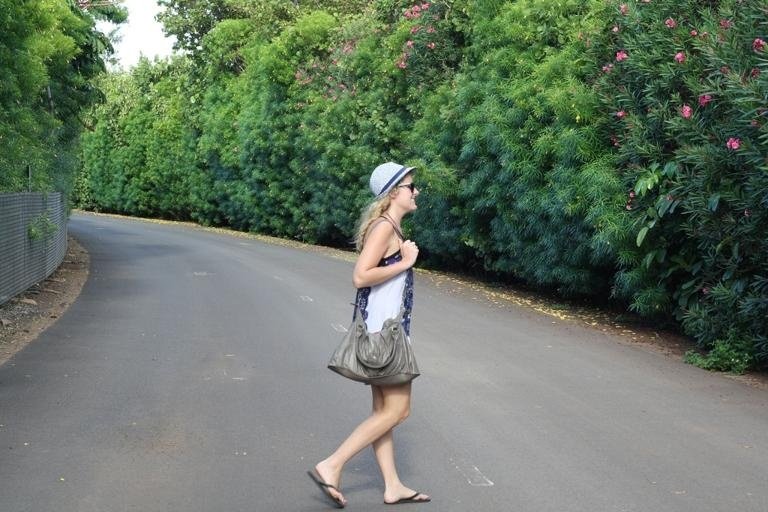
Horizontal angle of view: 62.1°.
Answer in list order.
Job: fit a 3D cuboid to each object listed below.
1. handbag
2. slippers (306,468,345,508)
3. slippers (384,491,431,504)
[{"bbox_3d":[-0.065,0.844,5.816,0.787,0.688,0.358,1,-15,4],"label":"handbag"},{"bbox_3d":[-0.524,2.124,5.856,0.525,0.142,0.199,53,-4,-2],"label":"slippers"},{"bbox_3d":[0.228,2.206,5.913,0.397,0.099,0.157,-2,-1,-5],"label":"slippers"}]
